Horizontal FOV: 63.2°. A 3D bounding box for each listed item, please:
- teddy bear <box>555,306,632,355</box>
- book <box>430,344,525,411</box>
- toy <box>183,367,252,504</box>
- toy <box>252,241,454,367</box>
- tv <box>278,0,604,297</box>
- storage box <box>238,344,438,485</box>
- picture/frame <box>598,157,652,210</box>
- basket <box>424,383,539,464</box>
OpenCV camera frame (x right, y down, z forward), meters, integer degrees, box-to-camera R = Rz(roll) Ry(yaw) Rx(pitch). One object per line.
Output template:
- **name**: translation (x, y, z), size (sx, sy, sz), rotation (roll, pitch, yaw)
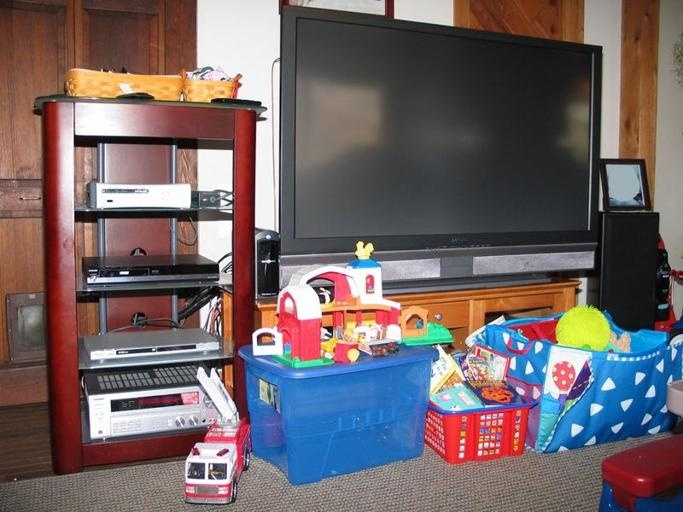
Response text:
- **teddy bear**: translation (1.165, 0.366, 2.579), size (0.257, 0.124, 0.265), rotation (-8, 35, -17)
- **book**: translation (0.557, 0.495, 2.455), size (0.250, 0.087, 0.286), rotation (-1, 6, -17)
- **toy**: translation (-0.509, 0.738, 2.267), size (0.177, 0.412, 0.414), rotation (-2, 7, 5)
- **toy**: translation (0.020, 0.180, 2.393), size (0.825, 0.476, 0.499), rotation (-2, 2, -37)
- **tv**: translation (0.502, -0.537, 2.961), size (1.625, 1.208, 0.170), rotation (-2, 2, -21)
- **storage box**: translation (-0.015, 0.594, 2.344), size (0.698, 0.449, 0.499), rotation (-3, 7, -26)
- **picture/frame**: translation (1.781, -0.450, 3.492), size (0.349, 0.371, 0.026), rotation (4, -17, -20)
- **basket**: translation (0.586, 0.704, 2.407), size (0.388, 0.199, 0.292), rotation (-2, 5, -20)
